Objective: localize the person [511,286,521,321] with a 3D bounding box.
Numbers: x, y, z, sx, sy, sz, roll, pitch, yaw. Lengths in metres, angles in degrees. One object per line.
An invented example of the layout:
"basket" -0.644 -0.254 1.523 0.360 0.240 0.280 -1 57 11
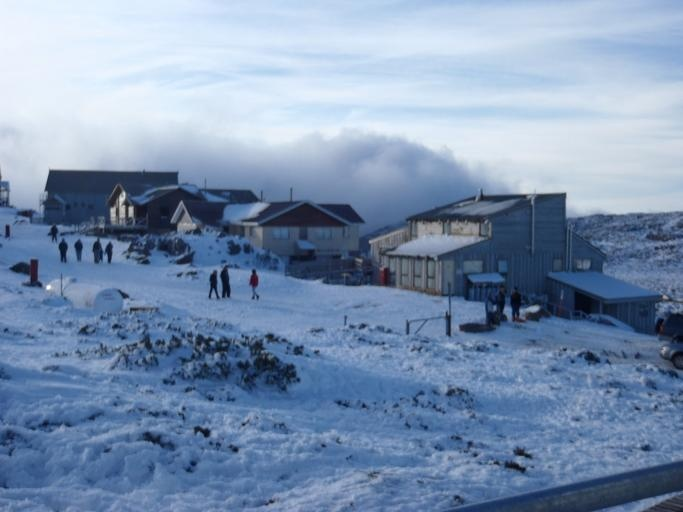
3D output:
"person" 9.047 2.442 58.782 0.412 1.706 1.055 0 2 9

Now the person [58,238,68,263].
"person" -17.234 -0.375 69.824 0.414 1.421 2.579 -1 2 -13
